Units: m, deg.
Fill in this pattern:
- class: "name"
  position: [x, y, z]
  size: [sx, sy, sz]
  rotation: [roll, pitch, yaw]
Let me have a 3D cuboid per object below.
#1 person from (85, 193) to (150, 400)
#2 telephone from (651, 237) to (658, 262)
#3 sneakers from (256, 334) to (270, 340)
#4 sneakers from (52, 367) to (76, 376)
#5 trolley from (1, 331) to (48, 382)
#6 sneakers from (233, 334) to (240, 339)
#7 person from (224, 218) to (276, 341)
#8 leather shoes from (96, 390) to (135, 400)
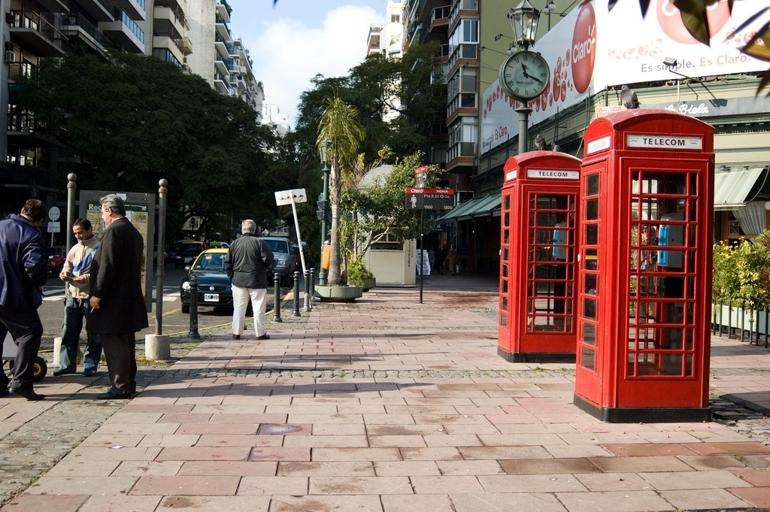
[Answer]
- class: "person"
  position: [-3.711, 0.554, 11.254]
  size: [0.751, 2.740, 0.564]
  rotation: [-2, -1, -23]
- class: "telephone"
  position: [3.427, -0.075, 10.350]
  size: [0.141, 0.290, 0.044]
  rotation: [-2, -1, -15]
- class: "sneakers"
  position: [-2.376, 1.574, 15.802]
  size: [0.259, 0.101, 0.092]
  rotation: [-6, 9, -39]
- class: "sneakers"
  position: [-4.821, 1.722, 12.150]
  size: [0.340, 0.212, 0.114]
  rotation: [3, -3, -13]
- class: "trolley"
  position: [-5.050, 1.406, 11.263]
  size: [0.798, 0.700, 0.426]
  rotation: [0, -9, 8]
- class: "sneakers"
  position: [-2.918, 1.575, 15.831]
  size: [0.119, 0.109, 0.082]
  rotation: [1, 1, 18]
- class: "person"
  position: [-2.702, 0.457, 15.990]
  size: [0.815, 2.339, 0.764]
  rotation: [-3, -2, 45]
- class: "leather shoes"
  position: [-3.656, 1.882, 10.982]
  size: [0.425, 0.142, 0.151]
  rotation: [4, -5, -9]
